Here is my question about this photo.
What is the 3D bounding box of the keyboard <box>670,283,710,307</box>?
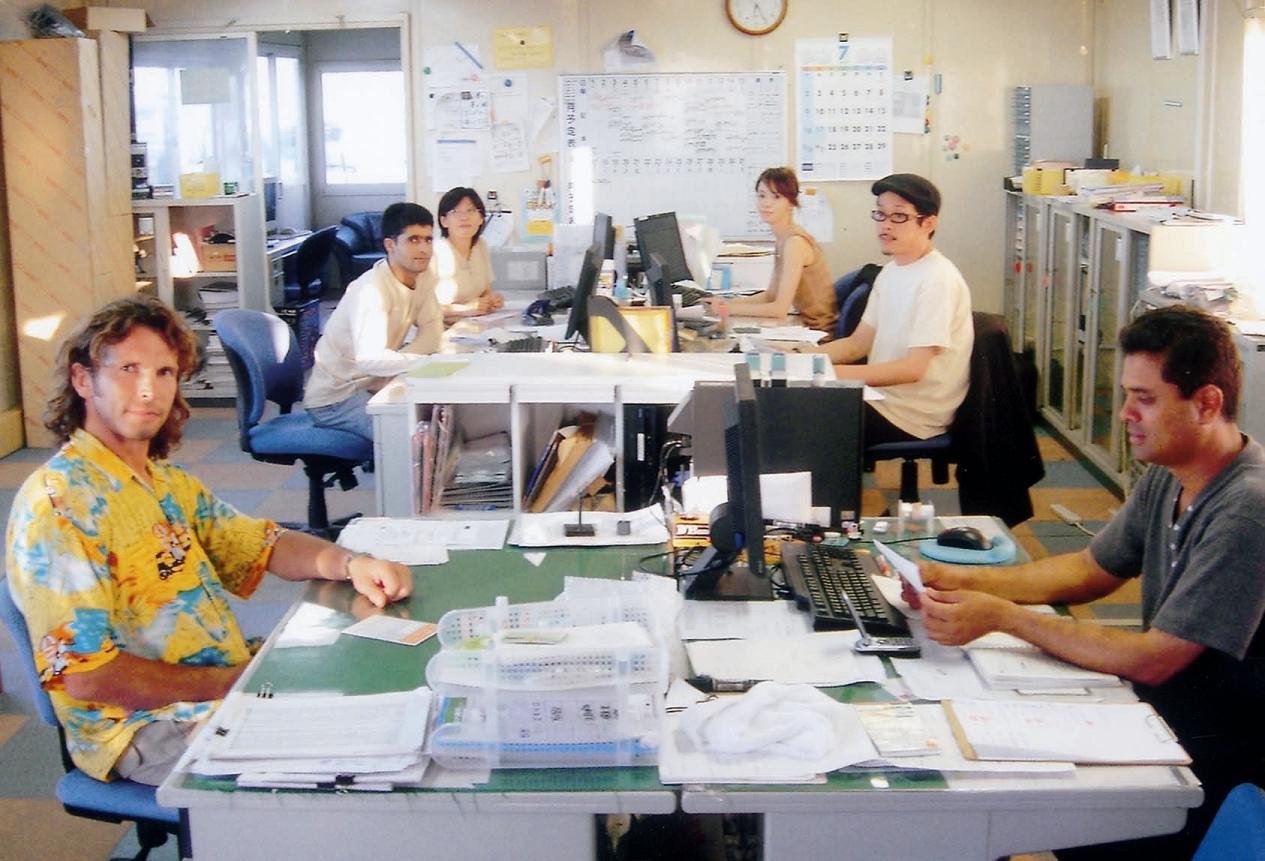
[{"bbox_3d":[0.346,-0.804,5.885,0.328,0.109,0.290,1,13,2],"label":"keyboard"}]

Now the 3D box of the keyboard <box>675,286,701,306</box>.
[{"bbox_3d":[0.342,-0.803,5.915,0.159,0.063,0.187,0,10,0],"label":"keyboard"}]

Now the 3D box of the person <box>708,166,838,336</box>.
[{"bbox_3d":[0.958,-1.116,6.186,1.151,1.187,0.769,2,13,4],"label":"person"}]

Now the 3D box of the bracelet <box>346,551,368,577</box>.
[{"bbox_3d":[-0.717,0.344,2.605,0.056,0.053,0.057,1,-12,-3],"label":"bracelet"}]

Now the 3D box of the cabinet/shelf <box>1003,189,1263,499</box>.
[{"bbox_3d":[2.141,-0.398,4.205,0.643,1.370,1.809,0,13,6],"label":"cabinet/shelf"}]

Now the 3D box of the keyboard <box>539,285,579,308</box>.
[{"bbox_3d":[-0.417,-0.786,5.791,0.298,0.067,0.294,2,27,4],"label":"keyboard"}]

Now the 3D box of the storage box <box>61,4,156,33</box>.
[{"bbox_3d":[-3.557,-2.793,6.683,0.491,0.211,0.329,-9,15,-31],"label":"storage box"}]

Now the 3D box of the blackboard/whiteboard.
[{"bbox_3d":[0.323,-2.072,7.262,1.907,1.154,0.174,1,11,4],"label":"blackboard/whiteboard"}]

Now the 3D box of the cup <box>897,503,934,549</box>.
[{"bbox_3d":[0.876,0.281,2.978,0.098,0.097,0.122,-1,0,5],"label":"cup"}]

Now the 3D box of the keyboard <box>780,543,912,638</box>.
[{"bbox_3d":[0.535,0.403,2.555,0.161,0.041,0.331,-4,20,0],"label":"keyboard"}]

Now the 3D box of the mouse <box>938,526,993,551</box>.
[{"bbox_3d":[0.938,0.306,2.781,0.106,0.032,0.071,-5,10,-25],"label":"mouse"}]

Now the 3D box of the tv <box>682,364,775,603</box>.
[{"bbox_3d":[0.269,0.165,2.699,0.331,0.551,0.597,-2,10,-1],"label":"tv"}]

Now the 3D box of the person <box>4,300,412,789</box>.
[{"bbox_3d":[-1.065,0.074,3.081,1.339,1.746,1.030,-1,16,-13],"label":"person"}]
